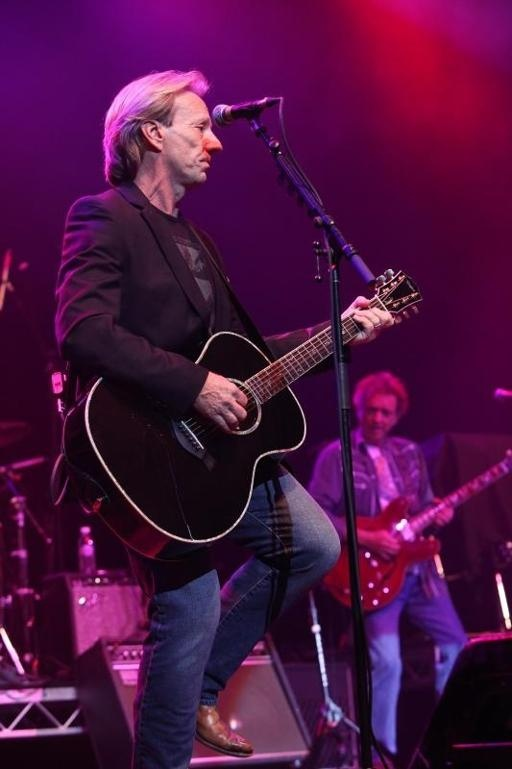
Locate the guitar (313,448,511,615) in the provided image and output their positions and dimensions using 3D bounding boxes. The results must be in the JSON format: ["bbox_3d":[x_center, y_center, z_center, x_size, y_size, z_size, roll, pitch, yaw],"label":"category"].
[{"bbox_3d":[0.757,0.717,3.528,1.044,0.399,0.121,-35,-6,-19],"label":"guitar"}]

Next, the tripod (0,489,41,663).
[{"bbox_3d":[-1.026,0.845,3.232,0.121,0.562,0.600,5,12,-25],"label":"tripod"}]

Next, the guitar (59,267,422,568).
[{"bbox_3d":[0.033,0.047,2.062,1.233,0.503,0.182,-33,0,-39],"label":"guitar"}]
